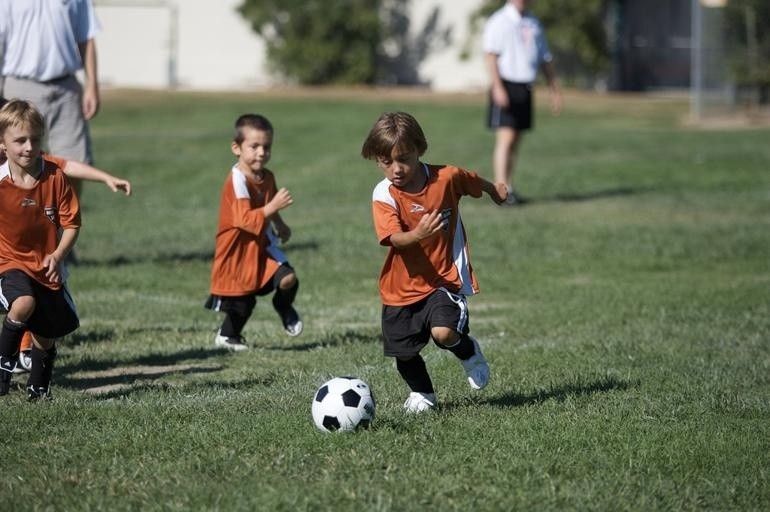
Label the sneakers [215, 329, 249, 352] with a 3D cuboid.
[{"bbox_3d":[-1.220,0.678,9.113,0.265,0.109,0.136,2,3,14],"label":"sneakers"}]

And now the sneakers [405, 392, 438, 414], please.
[{"bbox_3d":[0.242,1.011,7.882,0.114,0.091,0.212,-3,-5,37],"label":"sneakers"}]

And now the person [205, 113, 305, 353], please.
[{"bbox_3d":[-0.909,-0.196,8.760,0.780,1.754,0.635,5,11,39],"label":"person"}]

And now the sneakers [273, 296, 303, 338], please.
[{"bbox_3d":[-0.782,0.504,9.099,0.136,0.394,0.157,-27,0,16],"label":"sneakers"}]

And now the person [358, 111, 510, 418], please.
[{"bbox_3d":[0.287,0.039,7.789,0.816,2.024,0.559,-3,9,-2],"label":"person"}]

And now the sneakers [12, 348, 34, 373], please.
[{"bbox_3d":[-2.666,0.772,8.436,0.127,0.149,0.354,1,3,-31],"label":"sneakers"}]

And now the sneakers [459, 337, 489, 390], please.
[{"bbox_3d":[0.644,0.764,7.949,0.149,0.393,0.171,-25,-19,39],"label":"sneakers"}]
